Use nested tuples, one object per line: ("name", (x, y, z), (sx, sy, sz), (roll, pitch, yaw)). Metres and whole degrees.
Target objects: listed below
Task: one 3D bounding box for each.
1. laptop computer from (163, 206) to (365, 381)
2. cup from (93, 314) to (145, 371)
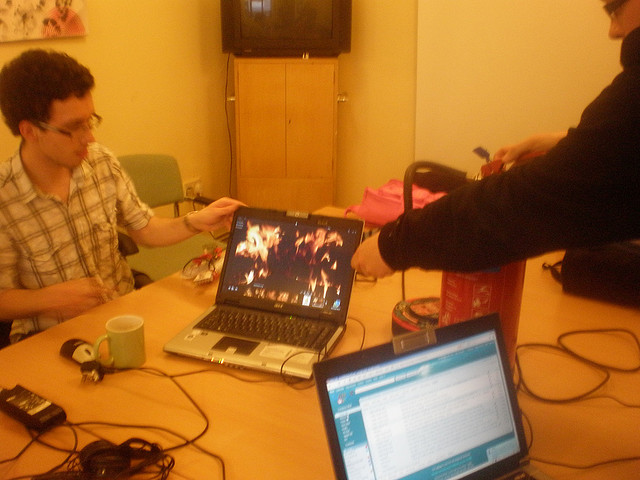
("laptop computer", (-0.121, 0.156, 1.510), (0.461, 0.340, 0.483), (10, 25, 21))
("cup", (-0.522, 0.272, 1.401), (0.094, 0.132, 0.160), (12, 18, 32))
